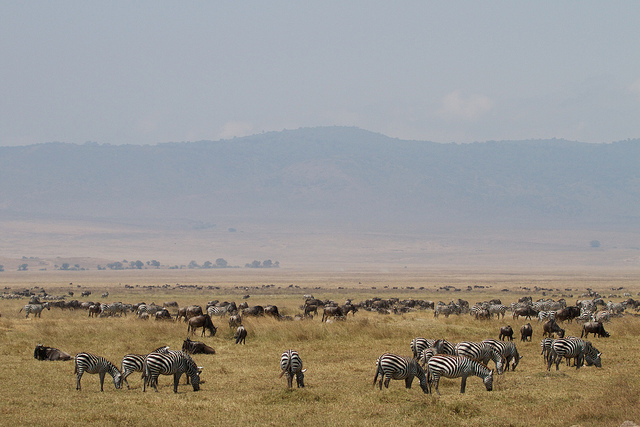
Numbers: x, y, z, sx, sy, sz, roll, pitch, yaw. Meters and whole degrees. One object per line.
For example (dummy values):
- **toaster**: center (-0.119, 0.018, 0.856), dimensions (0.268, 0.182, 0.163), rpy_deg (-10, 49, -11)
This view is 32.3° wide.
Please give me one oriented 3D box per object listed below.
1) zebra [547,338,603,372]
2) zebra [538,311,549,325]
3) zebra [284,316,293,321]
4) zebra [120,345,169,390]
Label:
- **zebra**: center (58.240, 32.388, 253.104), dimensions (14.027, 6.969, 3.735), rpy_deg (5, -4, -16)
- **zebra**: center (53.944, 25.195, 268.370), dimensions (2.446, 2.718, 2.085), rpy_deg (-1, -13, 6)
- **zebra**: center (-7.679, 25.415, 268.596), dimensions (1.891, 1.301, 3.317), rpy_deg (1, -13, -4)
- **zebra**: center (-39.700, 34.967, 250.088), dimensions (12.486, 7.755, 3.234), rpy_deg (-3, 1, -17)
